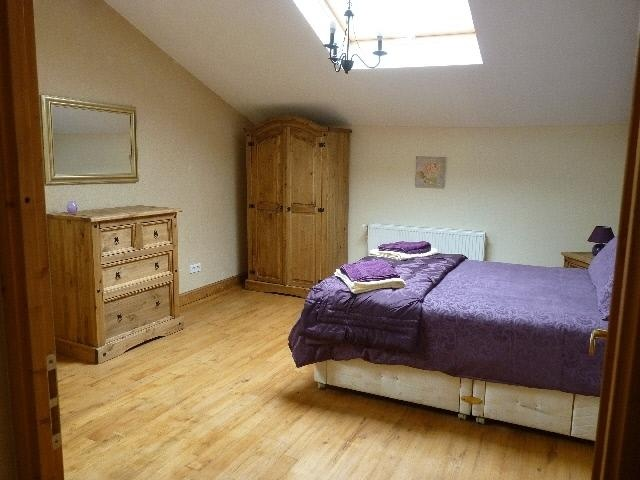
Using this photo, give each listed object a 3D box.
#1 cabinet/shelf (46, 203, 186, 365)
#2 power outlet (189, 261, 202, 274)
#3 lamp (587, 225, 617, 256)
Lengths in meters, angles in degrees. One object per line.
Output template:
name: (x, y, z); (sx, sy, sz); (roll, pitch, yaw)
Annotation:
cabinet/shelf: (-1.859, 0.335, 4.278); (0.671, 1.261, 0.960); (11, 14, 30)
power outlet: (-1.455, 0.323, 5.463); (0.018, 0.125, 0.208); (6, 13, 24)
lamp: (2.631, 0.022, 4.372); (0.228, 0.266, 0.226); (3, 2, -6)
